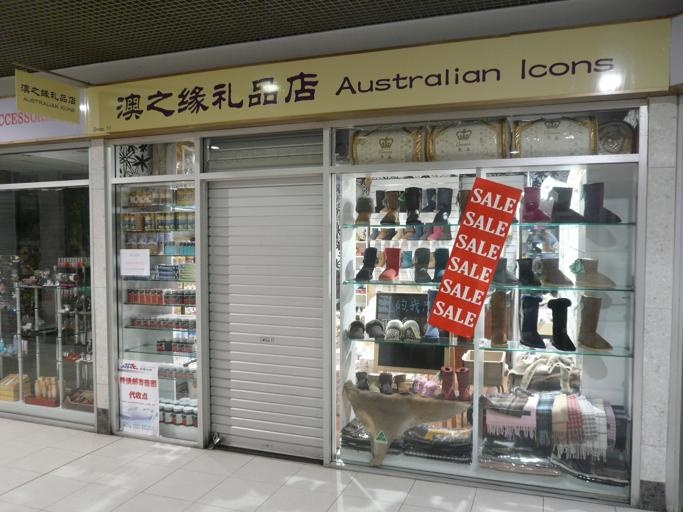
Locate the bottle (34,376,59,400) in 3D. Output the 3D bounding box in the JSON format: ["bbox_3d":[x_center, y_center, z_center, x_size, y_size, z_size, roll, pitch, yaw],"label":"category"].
[{"bbox_3d":[-3.128,1.396,6.072,0.326,0.267,0.106,5,16,22],"label":"bottle"}]

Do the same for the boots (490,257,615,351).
[{"bbox_3d":[1.766,0.369,4.719,0.876,0.668,0.345,0,-1,13],"label":"boots"}]

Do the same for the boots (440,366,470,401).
[{"bbox_3d":[0.982,1.076,4.946,0.248,0.239,0.286,-3,9,13],"label":"boots"}]

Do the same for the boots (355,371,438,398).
[{"bbox_3d":[0.495,1.121,5.207,0.729,0.253,0.235,-1,-2,12],"label":"boots"}]

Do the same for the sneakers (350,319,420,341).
[{"bbox_3d":[0.365,0.618,5.059,0.446,0.143,0.235,0,-5,6],"label":"sneakers"}]
